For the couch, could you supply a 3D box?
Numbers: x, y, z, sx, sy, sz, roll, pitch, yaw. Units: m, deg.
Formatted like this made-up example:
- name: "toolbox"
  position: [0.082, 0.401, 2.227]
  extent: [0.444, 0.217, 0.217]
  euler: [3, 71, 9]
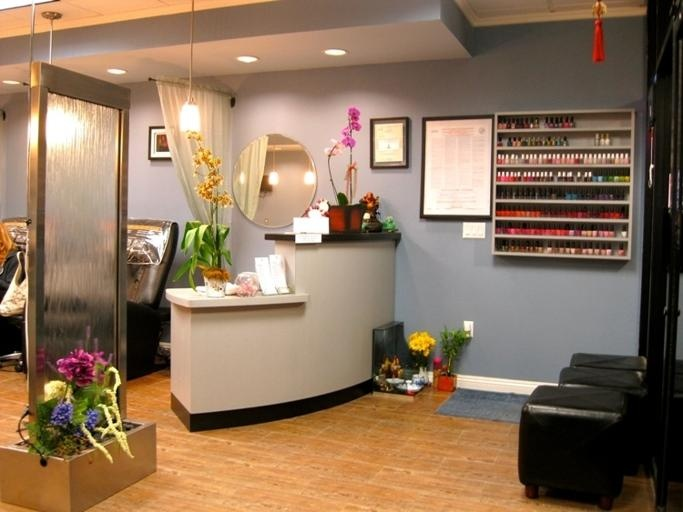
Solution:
- name: "couch"
  position: [-2.476, 0.316, 6.123]
  extent: [1.654, 1.925, 1.632]
  euler: [-1, -3, 24]

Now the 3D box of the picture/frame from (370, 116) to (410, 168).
- name: "picture/frame"
  position: [0.486, -1.117, 5.274]
  extent: [0.463, 0.639, 0.049]
  euler: [0, 0, 18]

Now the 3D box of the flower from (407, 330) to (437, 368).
- name: "flower"
  position: [0.788, 0.882, 5.253]
  extent: [0.289, 0.327, 0.307]
  euler: [1, 2, 16]

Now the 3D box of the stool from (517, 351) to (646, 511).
- name: "stool"
  position: [1.532, 1.095, 3.390]
  extent: [0.642, 0.601, 1.090]
  euler: [4, 5, 31]

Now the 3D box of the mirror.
- name: "mirror"
  position: [-0.647, -0.783, 5.612]
  extent: [0.887, 0.998, 0.034]
  euler: [5, 3, 17]

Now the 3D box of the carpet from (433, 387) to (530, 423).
- name: "carpet"
  position: [1.216, 1.286, 4.682]
  extent: [0.642, 0.022, 0.799]
  euler: [3, 5, 25]

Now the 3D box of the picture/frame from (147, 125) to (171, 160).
- name: "picture/frame"
  position: [-2.009, -1.263, 6.021]
  extent: [0.345, 0.387, 0.025]
  euler: [10, 7, 27]

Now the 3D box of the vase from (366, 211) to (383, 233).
- name: "vase"
  position: [0.338, -0.319, 5.118]
  extent: [0.108, 0.183, 0.292]
  euler: [3, 5, 31]

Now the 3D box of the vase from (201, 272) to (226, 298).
- name: "vase"
  position: [-0.948, 0.200, 4.088]
  extent: [0.170, 0.206, 0.206]
  euler: [0, 5, -15]

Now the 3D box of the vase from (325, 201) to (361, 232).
- name: "vase"
  position: [0.032, -0.316, 4.697]
  extent: [0.264, 0.216, 0.230]
  euler: [1, -2, -29]

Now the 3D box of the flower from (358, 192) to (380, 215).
- name: "flower"
  position: [0.274, -0.491, 5.078]
  extent: [0.168, 0.239, 0.223]
  euler: [-2, -3, 19]

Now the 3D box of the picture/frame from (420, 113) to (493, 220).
- name: "picture/frame"
  position: [1.106, -0.853, 5.087]
  extent: [0.913, 1.398, 0.057]
  euler: [0, -2, 18]

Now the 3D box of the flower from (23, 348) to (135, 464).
- name: "flower"
  position: [-1.445, 0.846, 2.971]
  extent: [0.530, 0.731, 0.332]
  euler: [-12, -20, -38]

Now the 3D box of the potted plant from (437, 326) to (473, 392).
- name: "potted plant"
  position: [1.061, 0.968, 5.124]
  extent: [0.301, 0.577, 0.230]
  euler: [2, 4, 20]

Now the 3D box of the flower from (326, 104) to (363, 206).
- name: "flower"
  position: [0.022, -0.984, 5.175]
  extent: [0.350, 0.975, 0.684]
  euler: [1, 4, 0]
